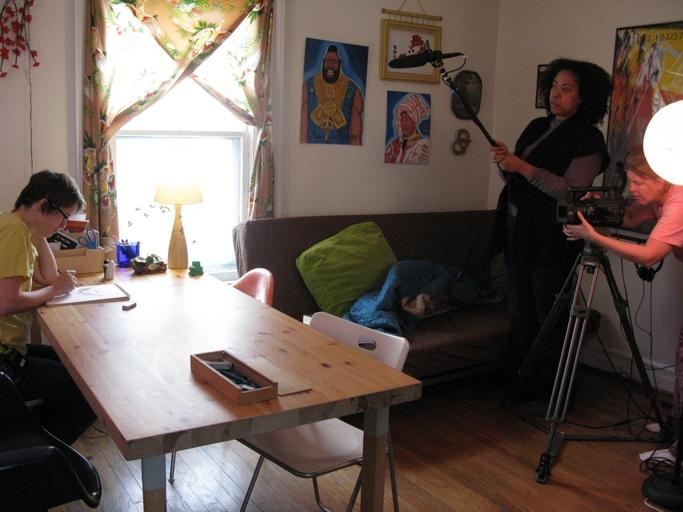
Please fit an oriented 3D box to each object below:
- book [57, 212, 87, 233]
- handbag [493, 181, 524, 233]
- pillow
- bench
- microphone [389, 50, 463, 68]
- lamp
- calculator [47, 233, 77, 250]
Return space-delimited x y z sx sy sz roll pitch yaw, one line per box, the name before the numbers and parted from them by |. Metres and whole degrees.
book | -1.494 -0.190 3.017 0.158 0.106 0.153 -3 7 -27
handbag | 1.086 -0.327 3.503 0.147 0.284 0.203 7 15 3
pillow | 0.043 -0.078 3.703 0.766 0.781 0.192 -14 33 -29
bench | 0.221 0.331 3.919 2.219 1.053 0.917 -1 22 -8
microphone | 0.462 -1.131 3.067 0.361 0.118 0.290 5 13 4
lamp | -0.998 -0.194 3.279 0.262 0.559 0.191 -6 17 -35
calculator | -1.550 -0.085 2.987 0.089 0.083 0.125 27 5 40
